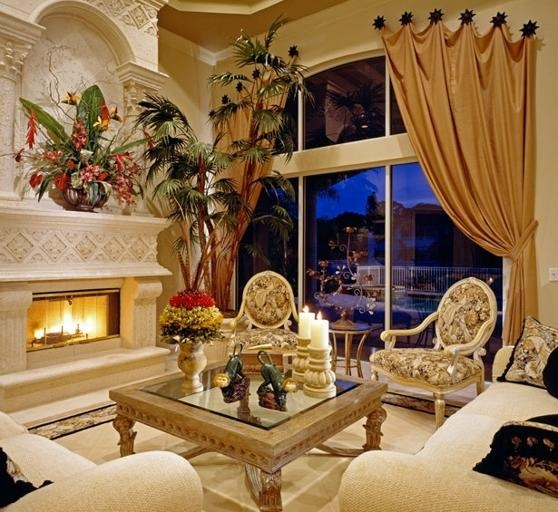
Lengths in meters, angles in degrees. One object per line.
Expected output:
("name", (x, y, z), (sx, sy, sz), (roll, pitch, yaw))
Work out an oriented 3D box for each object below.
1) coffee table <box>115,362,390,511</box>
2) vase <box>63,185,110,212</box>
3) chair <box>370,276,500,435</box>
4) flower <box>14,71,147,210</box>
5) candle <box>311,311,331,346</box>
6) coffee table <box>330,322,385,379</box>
("coffee table", (0.029, 0.753, 2.075), (0.788, 0.303, 0.799), (-1, -3, 44))
("vase", (-1.710, -0.496, 3.884), (0.286, 0.186, 0.257), (0, -1, -1))
("chair", (1.032, 0.688, 3.598), (1.019, 1.382, 1.032), (7, -8, -33))
("flower", (-1.770, -1.017, 3.979), (1.126, 1.237, 0.606), (1, -1, -36))
("candle", (0.206, 0.376, 2.244), (0.094, 0.170, 0.167), (0, -1, 4))
("coffee table", (0.671, 0.861, 4.170), (0.571, 0.634, 0.592), (-2, -7, 24))
